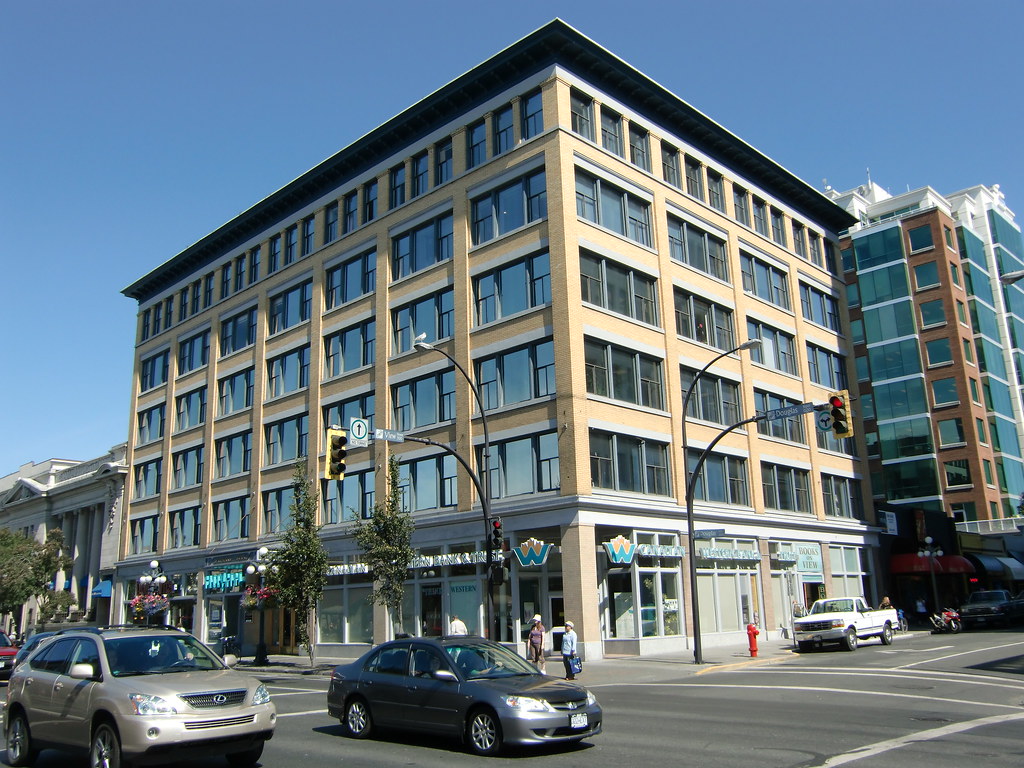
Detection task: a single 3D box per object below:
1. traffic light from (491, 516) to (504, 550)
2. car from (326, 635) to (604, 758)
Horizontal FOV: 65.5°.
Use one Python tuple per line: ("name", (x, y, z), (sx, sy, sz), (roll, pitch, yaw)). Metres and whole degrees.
("traffic light", (-0.571, 5.214, 27.643), (0.300, 1.038, 0.510), (3, -19, -14))
("car", (-1.004, 5.612, 14.815), (4.588, 1.435, 2.141), (-16, -23, 38))
